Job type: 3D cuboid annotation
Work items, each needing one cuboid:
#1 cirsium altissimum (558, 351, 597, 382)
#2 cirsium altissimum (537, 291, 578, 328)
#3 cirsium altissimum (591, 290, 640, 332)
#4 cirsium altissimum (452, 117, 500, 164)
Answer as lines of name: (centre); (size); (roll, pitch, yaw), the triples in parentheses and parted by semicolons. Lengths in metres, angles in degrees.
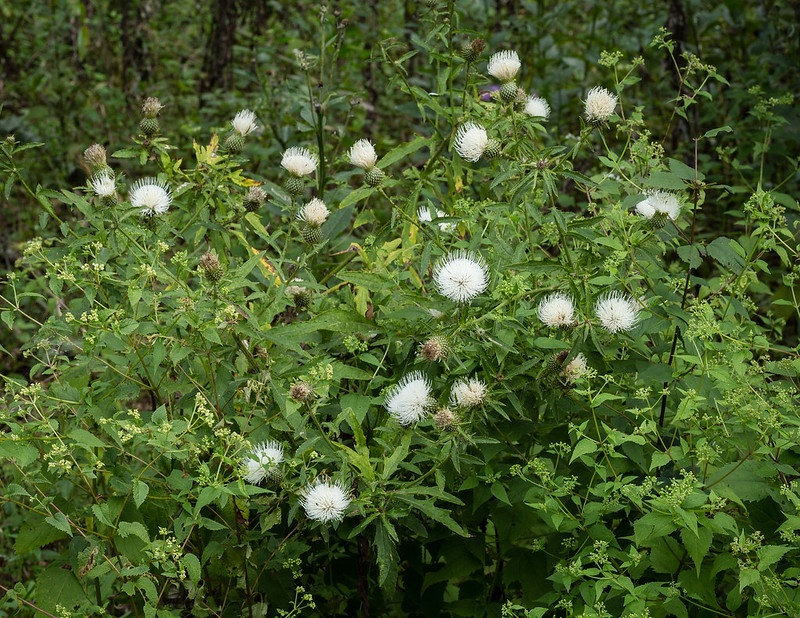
cirsium altissimum: (0.520, 0.176, 2.381); (0.049, 0.086, 0.080); (29, 26, 8)
cirsium altissimum: (0.462, 0.007, 2.407); (0.089, 0.069, 0.103); (-1, 43, 2)
cirsium altissimum: (0.629, 0.014, 2.378); (0.113, 0.055, 0.135); (-5, 81, -4)
cirsium altissimum: (0.226, -0.506, 2.497); (0.129, 0.066, 0.137); (27, 65, 2)
